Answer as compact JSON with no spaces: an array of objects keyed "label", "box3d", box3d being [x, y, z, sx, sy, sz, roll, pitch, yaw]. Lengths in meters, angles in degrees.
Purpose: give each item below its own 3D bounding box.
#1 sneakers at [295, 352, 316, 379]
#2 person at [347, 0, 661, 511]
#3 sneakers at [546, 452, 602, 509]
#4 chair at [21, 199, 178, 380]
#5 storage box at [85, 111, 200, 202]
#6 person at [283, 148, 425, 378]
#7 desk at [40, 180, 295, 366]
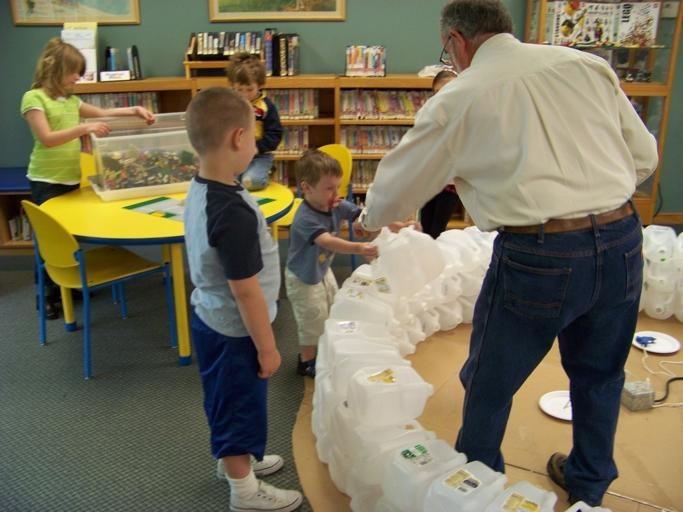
[{"label":"sneakers","box3d":[-0.188,0.600,2.922,0.063,0.079,0.171,-2,6,-43]},{"label":"person","box3d":[0.630,0.031,1.964,0.949,1.816,0.421,3,14,14]},{"label":"sneakers","box3d":[0.897,0.857,2.103,0.088,0.097,0.246,-10,29,1]},{"label":"chair","box3d":[-1.425,0.109,3.199,0.752,1.009,0.713,-12,27,-35]},{"label":"storage box","box3d":[-1.301,-0.618,3.556,0.720,0.477,0.512,-12,15,-34]},{"label":"person","box3d":[0.059,0.106,2.774,0.690,1.234,0.681,-6,22,-12]},{"label":"desk","box3d":[-1.060,0.070,3.387,1.639,0.720,1.675,4,19,-6]}]
